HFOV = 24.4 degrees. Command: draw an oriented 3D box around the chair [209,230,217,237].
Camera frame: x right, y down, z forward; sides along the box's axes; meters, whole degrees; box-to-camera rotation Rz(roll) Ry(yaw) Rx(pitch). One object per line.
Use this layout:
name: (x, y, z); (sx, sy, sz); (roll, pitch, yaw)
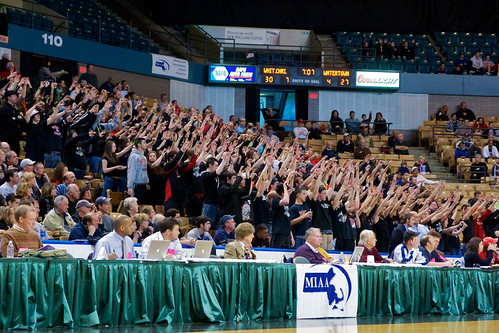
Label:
chair: (-1.208, 2.296, 38.337); (0.223, 0.313, 0.247); (1, -13, -1)

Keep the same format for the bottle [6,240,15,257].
bottle: (-7.056, 2.509, 34.249); (0.215, 0.524, 0.439); (1, -5, -13)

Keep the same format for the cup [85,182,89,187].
cup: (-5.532, 0.650, 39.598); (0.153, 0.159, 0.271); (2, -4, -22)

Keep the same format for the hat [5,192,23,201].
hat: (-7.396, 1.006, 36.284); (0.381, 0.220, 0.241); (-24, -5, 6)

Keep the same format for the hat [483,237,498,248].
hat: (8.012, 2.582, 38.710); (0.478, 0.288, 0.311); (-12, 7, 1)

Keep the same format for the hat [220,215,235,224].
hat: (-0.715, 1.770, 37.485); (0.383, 0.327, 0.678); (1, -5, -13)

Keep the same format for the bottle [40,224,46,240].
bottle: (-6.455, 2.123, 36.350); (0.227, 0.451, 0.424); (1, -5, -10)

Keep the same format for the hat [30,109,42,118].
hat: (-7.266, -1.802, 39.284); (0.445, 0.232, 0.281); (-21, 17, -26)

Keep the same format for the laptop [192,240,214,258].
laptop: (-1.484, 2.521, 35.370); (0.648, 0.485, 0.477); (10, 7, -45)

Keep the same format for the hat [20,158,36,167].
hat: (-7.222, -0.097, 37.623); (0.343, 0.198, 0.256); (-7, 3, -10)

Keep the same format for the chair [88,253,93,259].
chair: (-4.877, 2.836, 35.425); (0.148, 0.203, 0.195); (5, 8, 41)

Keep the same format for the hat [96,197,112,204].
hat: (-4.669, 1.140, 36.987); (0.355, 0.164, 0.239); (-7, -1, -5)
